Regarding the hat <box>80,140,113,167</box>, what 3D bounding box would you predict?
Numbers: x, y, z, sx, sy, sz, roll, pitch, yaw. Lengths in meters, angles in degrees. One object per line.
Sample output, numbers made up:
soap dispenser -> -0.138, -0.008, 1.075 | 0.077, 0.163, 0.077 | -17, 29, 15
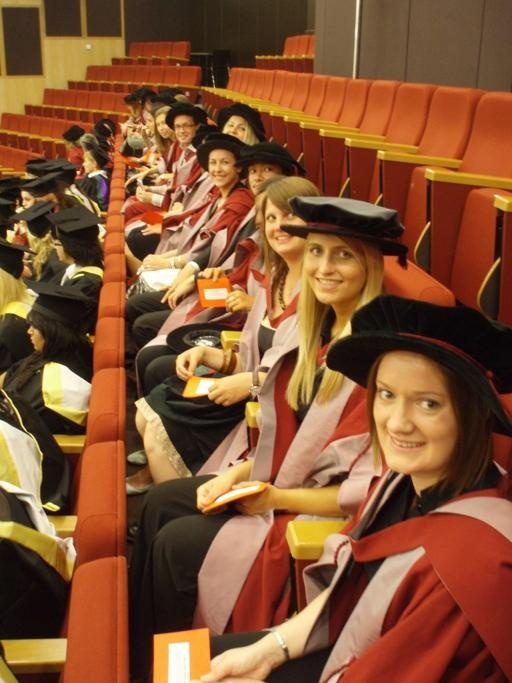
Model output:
hat -> -2.256, -2.616, 7.547 | 0.162, 0.380, 0.443 | -40, 19, -10

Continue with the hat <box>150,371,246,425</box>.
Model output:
hat -> -0.292, 0.242, 2.286 | 0.259, 0.106, 0.203 | 3, -22, -3

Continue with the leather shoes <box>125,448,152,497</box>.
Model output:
leather shoes -> -0.601, 0.663, 2.733 | 0.100, 0.125, 0.318 | 3, 1, 12
